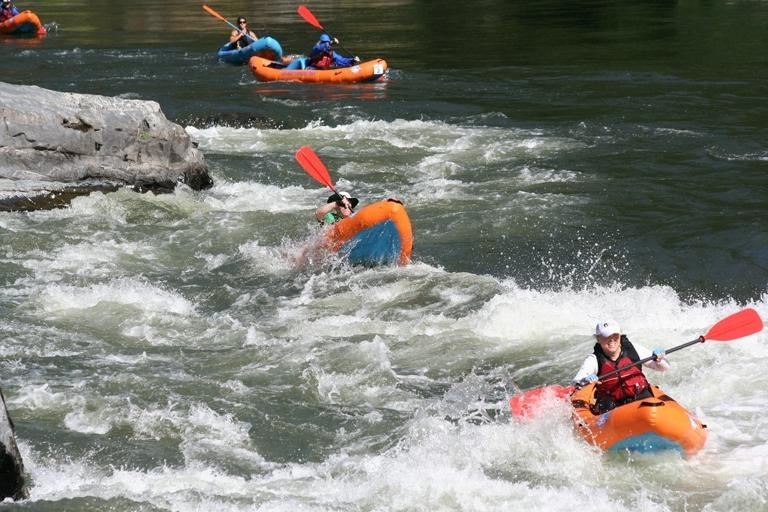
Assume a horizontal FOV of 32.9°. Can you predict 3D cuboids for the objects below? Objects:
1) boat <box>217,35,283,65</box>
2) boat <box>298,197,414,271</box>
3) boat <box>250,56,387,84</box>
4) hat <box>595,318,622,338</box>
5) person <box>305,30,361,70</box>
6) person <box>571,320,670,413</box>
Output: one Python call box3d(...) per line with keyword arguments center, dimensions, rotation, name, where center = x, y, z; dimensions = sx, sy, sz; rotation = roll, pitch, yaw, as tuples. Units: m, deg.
box3d(center=(-4.046, -6.135, 39.148), dimensions=(0.926, 0.387, 1.830), rotation=(-24, 19, -40), name="boat")
box3d(center=(-0.444, -0.402, 25.919), dimensions=(2.009, 1.241, 0.431), rotation=(-2, 19, 4), name="boat")
box3d(center=(-1.821, -5.204, 36.817), dimensions=(3.843, 0.712, 0.695), rotation=(2, 17, 16), name="boat")
box3d(center=(3.868, 1.228, 22.392), dimensions=(0.387, 0.266, 0.284), rotation=(-3, 16, 1), name="hat")
box3d(center=(-1.433, -5.748, 37.102), dimensions=(1.568, 0.809, 0.621), rotation=(5, 20, 11), name="person")
box3d(center=(4.102, 1.985, 22.304), dimensions=(1.653, 1.481, 1.168), rotation=(-14, 12, -15), name="person")
